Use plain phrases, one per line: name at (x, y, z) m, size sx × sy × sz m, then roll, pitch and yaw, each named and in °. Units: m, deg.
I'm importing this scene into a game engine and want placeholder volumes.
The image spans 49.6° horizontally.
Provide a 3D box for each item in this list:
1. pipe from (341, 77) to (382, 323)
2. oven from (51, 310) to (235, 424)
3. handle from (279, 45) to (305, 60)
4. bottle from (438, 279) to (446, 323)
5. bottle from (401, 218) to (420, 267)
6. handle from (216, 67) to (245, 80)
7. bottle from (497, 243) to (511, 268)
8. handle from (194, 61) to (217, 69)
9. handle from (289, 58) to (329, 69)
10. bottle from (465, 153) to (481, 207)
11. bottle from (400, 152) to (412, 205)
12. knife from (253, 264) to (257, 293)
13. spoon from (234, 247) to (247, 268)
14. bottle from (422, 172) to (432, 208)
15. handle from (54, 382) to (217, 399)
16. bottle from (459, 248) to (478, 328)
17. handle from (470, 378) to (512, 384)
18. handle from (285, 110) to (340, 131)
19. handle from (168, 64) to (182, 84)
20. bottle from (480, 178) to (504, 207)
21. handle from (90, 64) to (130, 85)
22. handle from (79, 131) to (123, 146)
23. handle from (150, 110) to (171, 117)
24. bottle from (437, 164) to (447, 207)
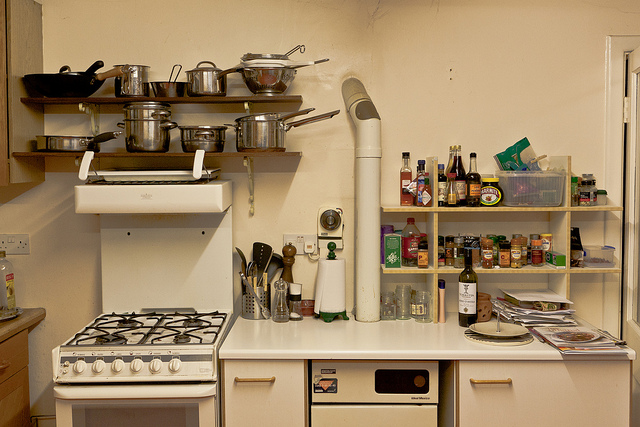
pipe at (0.240, -0.086, 3.992) m, size 0.150 × 1.400 × 0.280 m, roll -3°, pitch 5°, yaw -18°
oven at (-0.946, 0.740, 3.846) m, size 0.831 × 0.866 × 0.636 m, roll 0°, pitch -1°, yaw 0°
handle at (-0.137, -0.953, 4.006) m, size 0.072 × 0.039 × 0.125 m, roll 15°, pitch 47°, yaw 40°
bottle at (0.683, 0.499, 3.903) m, size 0.037 × 0.244 × 0.033 m, roll -1°, pitch 5°, yaw 4°
bottle at (0.527, 0.165, 4.032) m, size 0.131 × 0.279 × 0.133 m, roll 0°, pitch 5°, yaw 0°
handle at (-0.501, -0.785, 3.853) m, size 0.130 × 0.064 × 0.102 m, roll 3°, pitch 7°, yaw 42°
bottle at (1.050, 0.236, 3.932) m, size 0.066 × 0.138 × 0.040 m, roll 0°, pitch 5°, yaw 11°
handle at (-0.655, -0.857, 3.965) m, size 0.118 × 0.062 × 0.192 m, roll -2°, pitch 5°, yaw -7°
handle at (-0.063, -0.858, 3.924) m, size 0.216 × 0.079 × 0.289 m, roll -1°, pitch 5°, yaw -1°
bottle at (0.876, -0.196, 3.965) m, size 0.087 × 0.302 × 0.193 m, roll 0°, pitch 5°, yaw 14°
bottle at (0.496, -0.204, 3.999) m, size 0.066 × 0.300 × 0.097 m, roll 0°, pitch 5°, yaw 8°
knife at (-0.379, 0.379, 3.979) m, size 0.023 × 0.165 × 0.014 m, roll 0°, pitch 2°, yaw 0°
spoon at (-0.463, 0.248, 4.024) m, size 0.030 × 0.167 × 0.034 m, roll -9°, pitch 25°, yaw -1°
bottle at (0.612, -0.135, 3.960) m, size 0.053 × 0.190 × 0.154 m, roll 0°, pitch 5°, yaw 9°
handle at (-0.950, 0.916, 3.535) m, size 0.815 × 0.063 × 0.046 m, roll -1°, pitch 5°, yaw -2°
bottle at (0.823, 0.416, 3.866) m, size 0.089 × 0.438 × 0.079 m, roll 0°, pitch 5°, yaw 13°
handle at (0.891, 0.876, 3.607) m, size 0.218 × 0.032 × 0.017 m, roll -1°, pitch 5°, yaw 0°
handle at (-0.038, -0.537, 3.989) m, size 0.385 × 0.039 × 0.043 m, roll -17°, pitch -34°, yaw 24°
handle at (-0.863, -0.830, 4.047) m, size 0.067 × 0.096 × 0.112 m, roll 0°, pitch 5°, yaw 12°
bottle at (0.969, -0.156, 3.950) m, size 0.164 × 0.211 × 0.123 m, roll 0°, pitch 39°, yaw 16°
handle at (-1.186, -0.789, 3.899) m, size 0.264 × 0.054 × 0.059 m, roll -22°, pitch 13°, yaw 16°
handle at (-1.264, -0.433, 3.963) m, size 0.308 × 0.045 × 0.044 m, roll -10°, pitch 33°, yaw 26°
handle at (-0.882, -0.557, 3.836) m, size 0.041 × 0.040 × 0.124 m, roll 4°, pitch 7°, yaw 44°
bottle at (0.687, -0.160, 3.896) m, size 0.056 × 0.236 × 0.034 m, roll -1°, pitch 5°, yaw 2°
